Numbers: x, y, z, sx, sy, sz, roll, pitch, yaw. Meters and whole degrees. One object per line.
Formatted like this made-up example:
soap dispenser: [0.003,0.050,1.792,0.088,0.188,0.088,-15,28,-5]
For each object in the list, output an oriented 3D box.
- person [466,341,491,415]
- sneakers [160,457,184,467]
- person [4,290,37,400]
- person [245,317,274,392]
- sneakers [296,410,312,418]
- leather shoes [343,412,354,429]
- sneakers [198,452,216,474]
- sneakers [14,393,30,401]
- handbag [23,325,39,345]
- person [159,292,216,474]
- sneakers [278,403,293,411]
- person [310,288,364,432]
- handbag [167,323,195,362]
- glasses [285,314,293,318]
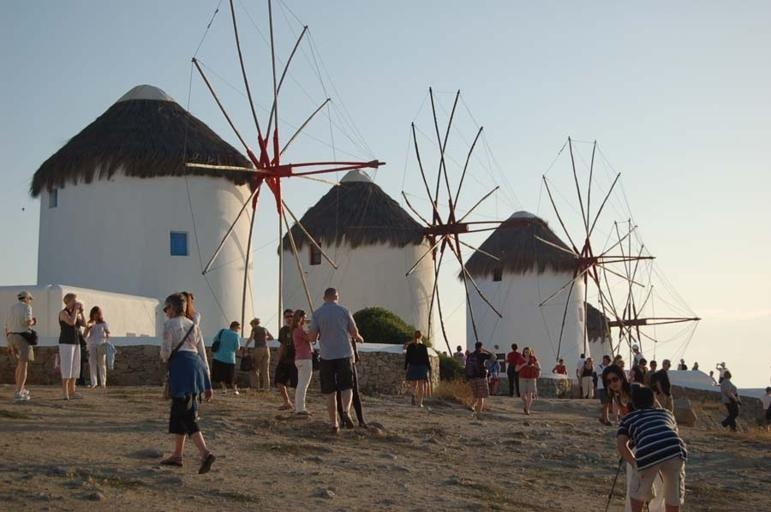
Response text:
person: [2.285,3.036,19.603,0.577,1.781,0.565,5,12,41]
sneakers: [-3.197,3.082,11.759,0.307,0.157,0.157,3,-5,14]
person: [-7.204,1.800,15.483,0.542,2.119,0.824,3,-9,-27]
person: [-3.159,2.482,19.592,0.565,1.720,2.343,0,-9,-9]
sneakers: [-1.598,3.094,15.319,0.324,0.177,0.132,1,-3,0]
leather shoes: [-0.703,3.134,14.753,0.112,0.346,0.142,-24,13,-18]
sneakers: [-2.589,3.013,11.330,0.199,0.298,0.231,1,-9,-14]
sneakers: [-7.211,2.829,15.597,0.254,0.188,0.132,-2,-4,-6]
handbag: [-6.971,1.572,15.472,0.284,0.330,0.239,-9,8,-29]
person: [-3.024,1.945,12.031,0.769,2.688,1.519,1,-9,-13]
sneakers: [-2.085,3.159,16.402,0.271,0.152,0.152,1,-4,-7]
person: [-0.909,1.912,14.189,0.899,2.562,0.771,1,-8,-10]
handbag: [-3.039,1.295,11.588,0.069,0.660,0.085,39,-21,-18]
glasses: [-2.037,1.285,16.686,0.095,0.061,0.130,-2,1,-8]
